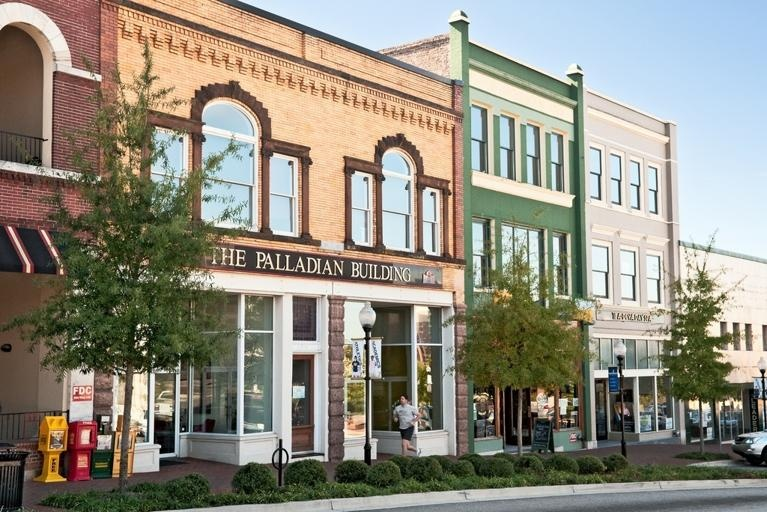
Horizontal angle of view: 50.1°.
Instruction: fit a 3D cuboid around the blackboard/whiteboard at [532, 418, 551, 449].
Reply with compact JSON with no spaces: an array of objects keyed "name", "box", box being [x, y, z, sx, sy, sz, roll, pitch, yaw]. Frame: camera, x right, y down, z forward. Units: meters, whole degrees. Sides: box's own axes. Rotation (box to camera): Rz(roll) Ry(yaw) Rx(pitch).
[{"name":"blackboard/whiteboard","box":[6.374,7.094,32.660,0.731,1.249,0.505,9,3,13]}]
